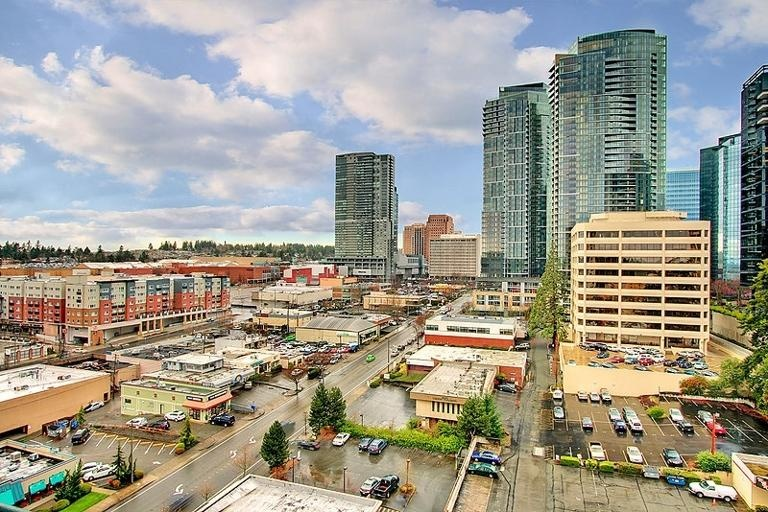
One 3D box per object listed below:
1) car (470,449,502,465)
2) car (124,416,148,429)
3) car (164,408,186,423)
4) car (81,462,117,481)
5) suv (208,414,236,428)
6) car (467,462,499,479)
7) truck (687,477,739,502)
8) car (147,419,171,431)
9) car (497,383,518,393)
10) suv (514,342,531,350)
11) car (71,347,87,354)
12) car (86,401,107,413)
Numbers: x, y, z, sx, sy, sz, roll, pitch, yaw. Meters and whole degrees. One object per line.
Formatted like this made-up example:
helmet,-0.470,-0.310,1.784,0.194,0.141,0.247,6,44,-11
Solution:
car,13.129,25.791,66.857,3.512,0.960,1.495,4,1,10
car,-35.482,23.983,74.820,2.202,0.980,1.398,5,1,4
car,-30.884,23.719,77.279,2.844,1.174,1.559,4,-2,6
car,-35.653,27.097,65.084,3.240,1.036,1.837,9,-9,-30
suv,-23.447,23.949,75.916,2.675,1.028,1.729,5,-3,3
car,12.380,26.905,65.123,3.446,0.929,1.486,3,2,13
truck,38.998,27.674,61.923,4.805,1.527,2.249,1,-5,13
car,-32.223,24.127,74.303,2.323,0.612,1.556,-1,6,0
car,20.182,21.631,85.247,2.496,0.677,1.332,-2,4,22
suv,28.724,18.682,107.363,2.426,0.713,1.538,2,-5,1
car,-63.974,20.036,109.357,2.886,0.754,1.686,3,5,-18
car,-44.721,23.340,80.786,0.900,0.616,1.899,13,14,40
